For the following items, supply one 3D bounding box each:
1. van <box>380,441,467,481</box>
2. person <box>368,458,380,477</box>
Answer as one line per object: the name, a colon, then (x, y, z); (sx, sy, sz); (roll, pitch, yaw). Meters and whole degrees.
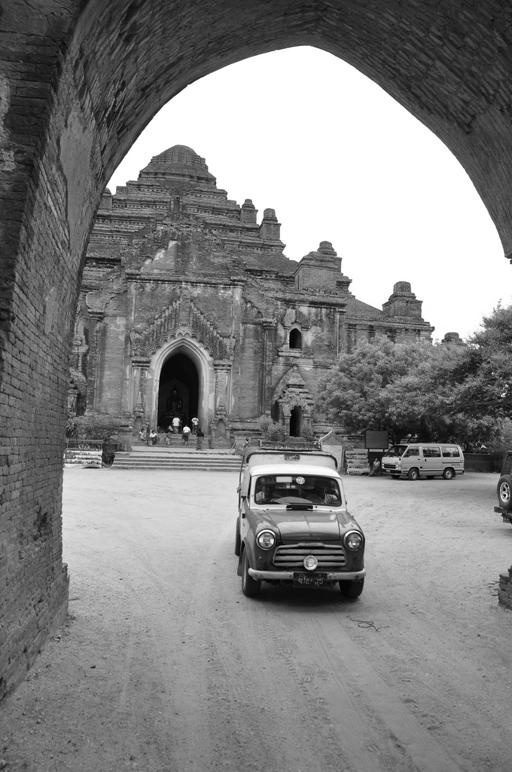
van: (7.623, 3.698, 30.317); (3.348, 1.667, 1.868); (3, -7, -22)
person: (5.734, 4.081, 31.155); (0.530, 0.836, 0.918); (0, -6, 12)
